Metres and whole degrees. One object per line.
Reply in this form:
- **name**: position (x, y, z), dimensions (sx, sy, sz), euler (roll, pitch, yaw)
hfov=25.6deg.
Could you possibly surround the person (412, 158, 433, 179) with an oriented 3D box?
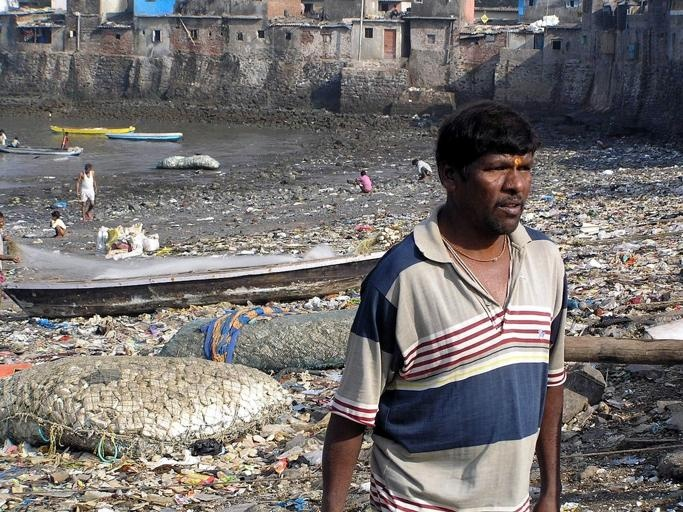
- **person**: position (2.857, -3.076, 54.292), dimensions (0.659, 0.751, 0.908), euler (-4, 23, 2)

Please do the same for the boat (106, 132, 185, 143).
- **boat**: position (-8.775, -5.098, 65.797), dimensions (2.950, 0.362, 0.598), euler (-3, 8, 22)

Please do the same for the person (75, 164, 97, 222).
- **person**: position (-8.503, -2.085, 49.604), dimensions (0.595, 1.848, 1.571), euler (-1, 8, -9)
